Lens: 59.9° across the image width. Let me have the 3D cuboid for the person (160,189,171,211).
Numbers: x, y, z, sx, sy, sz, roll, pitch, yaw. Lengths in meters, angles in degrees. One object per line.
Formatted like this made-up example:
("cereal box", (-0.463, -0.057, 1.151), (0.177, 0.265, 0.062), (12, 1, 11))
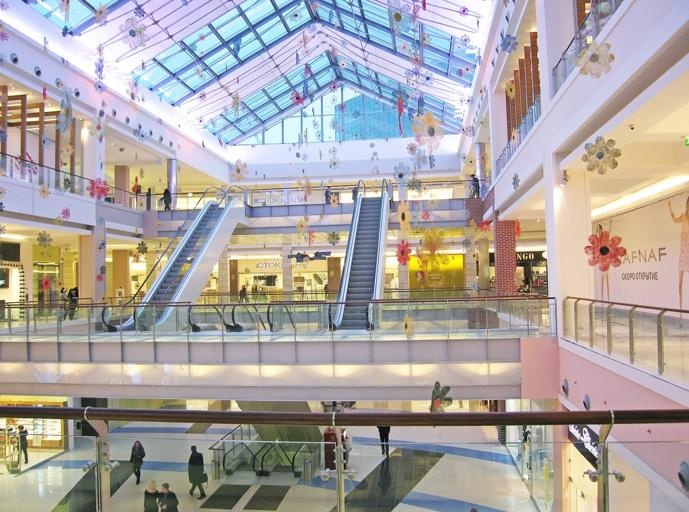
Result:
("person", (-6.931, -2.172, 23.415), (0.371, 0.858, 0.579), (-3, 0, -27))

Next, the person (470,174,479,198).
("person", (5.152, -2.684, 23.415), (0.325, 0.883, 1.149), (-3, 0, 12))
